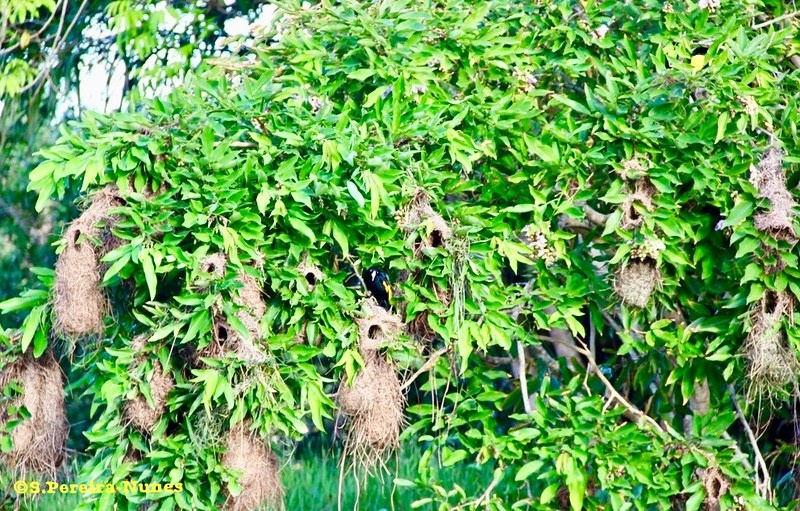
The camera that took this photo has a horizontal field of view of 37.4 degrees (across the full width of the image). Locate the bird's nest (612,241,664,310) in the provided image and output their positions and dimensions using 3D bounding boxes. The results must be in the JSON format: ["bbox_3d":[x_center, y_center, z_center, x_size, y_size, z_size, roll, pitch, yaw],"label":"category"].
[{"bbox_3d":[1.386,0.100,6.946,0.250,0.371,0.152,21,0,-22],"label":"bird's nest"}]

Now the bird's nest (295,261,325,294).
[{"bbox_3d":[-0.524,0.114,6.855,0.133,0.176,0.131,0,2,41],"label":"bird's nest"}]

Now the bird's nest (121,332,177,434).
[{"bbox_3d":[-1.536,0.740,6.886,0.212,0.481,0.371,9,4,39],"label":"bird's nest"}]

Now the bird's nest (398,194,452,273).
[{"bbox_3d":[0.139,-0.175,6.807,0.318,0.388,0.133,-2,2,-1],"label":"bird's nest"}]

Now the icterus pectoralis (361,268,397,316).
[{"bbox_3d":[-0.132,0.199,7.229,0.137,0.201,0.263,-3,-10,17],"label":"icterus pectoralis"}]

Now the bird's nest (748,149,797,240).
[{"bbox_3d":[2.171,-0.362,6.858,0.244,0.532,0.224,-2,2,10],"label":"bird's nest"}]

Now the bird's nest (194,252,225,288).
[{"bbox_3d":[-1.071,0.081,6.622,0.160,0.201,0.062,34,-14,-4],"label":"bird's nest"}]

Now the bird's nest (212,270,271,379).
[{"bbox_3d":[-0.894,0.386,6.787,0.345,0.501,0.205,2,-1,18],"label":"bird's nest"}]

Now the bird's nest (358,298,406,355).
[{"bbox_3d":[-0.134,0.415,6.852,0.270,0.298,0.152,-11,8,-2],"label":"bird's nest"}]

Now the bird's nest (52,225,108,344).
[{"bbox_3d":[-1.824,0.181,6.830,0.221,0.556,0.358,0,0,27],"label":"bird's nest"}]
